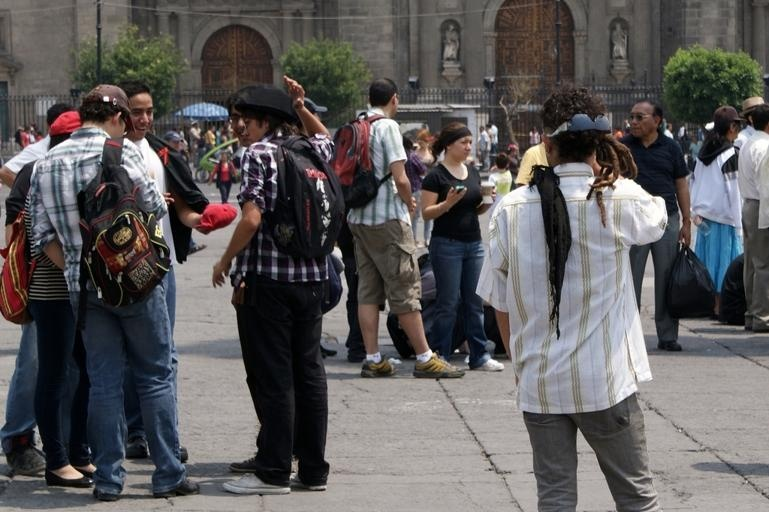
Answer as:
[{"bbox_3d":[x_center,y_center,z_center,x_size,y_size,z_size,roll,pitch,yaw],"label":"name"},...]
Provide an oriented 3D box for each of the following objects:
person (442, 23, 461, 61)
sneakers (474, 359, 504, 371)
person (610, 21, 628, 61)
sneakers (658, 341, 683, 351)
[{"bbox_3d":[2.288,-7.494,56.476,0.396,1.403,0.675,2,7,40],"label":"person"},{"bbox_3d":[1.226,1.290,19.086,0.362,0.156,0.143,-2,-4,14],"label":"sneakers"},{"bbox_3d":[8.203,-7.606,56.903,0.583,1.418,0.420,-4,6,-24],"label":"person"},{"bbox_3d":[3.473,1.102,19.685,0.111,0.121,0.274,1,-3,-33],"label":"sneakers"}]
